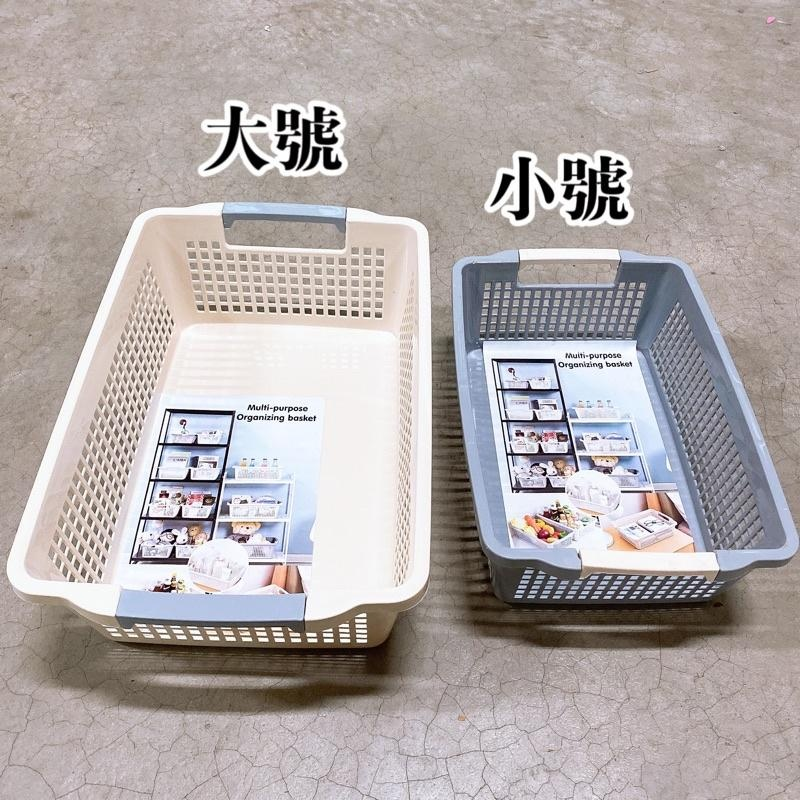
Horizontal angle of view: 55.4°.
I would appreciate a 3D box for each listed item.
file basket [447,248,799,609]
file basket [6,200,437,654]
[{"bbox_3d":[0.386,0.061,1.367,0.524,0.222,0.649,-1,57,-1],"label":"file basket"},{"bbox_3d":[-0.262,0.070,1.302,0.650,0.274,0.734,1,61,3],"label":"file basket"}]
